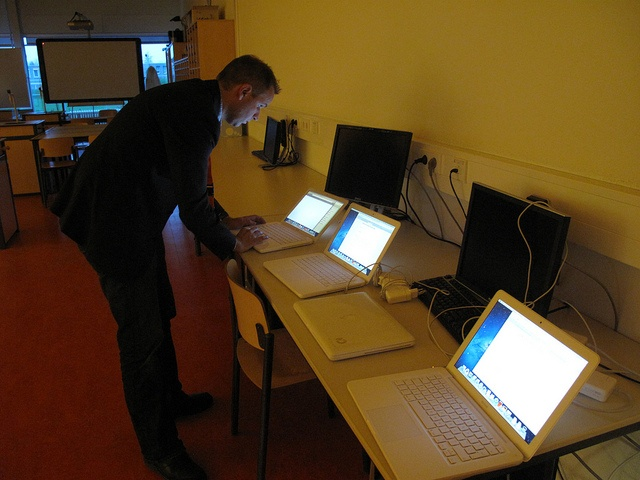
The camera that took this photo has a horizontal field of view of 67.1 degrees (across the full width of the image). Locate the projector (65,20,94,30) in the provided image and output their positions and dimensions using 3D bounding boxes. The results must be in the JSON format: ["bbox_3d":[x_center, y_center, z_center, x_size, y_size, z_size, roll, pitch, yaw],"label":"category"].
[{"bbox_3d":[-4.180,-3.709,8.346,0.504,0.130,0.538,10,26,11],"label":"projector"}]

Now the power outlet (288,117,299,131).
[{"bbox_3d":[-0.227,-0.929,3.916,0.035,0.111,0.177,-6,27,-20],"label":"power outlet"}]

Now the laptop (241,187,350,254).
[{"bbox_3d":[-0.162,-0.126,2.480,0.498,0.217,0.412,-9,20,-37],"label":"laptop"}]

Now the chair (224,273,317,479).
[{"bbox_3d":[-0.223,0.646,2.206,0.477,0.895,0.468,-16,32,-22],"label":"chair"}]

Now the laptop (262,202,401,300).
[{"bbox_3d":[0.037,0.008,2.122,0.527,0.307,0.565,18,17,40],"label":"laptop"}]

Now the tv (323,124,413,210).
[{"bbox_3d":[0.245,-0.402,2.599,0.439,0.404,0.039,14,5,30],"label":"tv"}]

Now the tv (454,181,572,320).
[{"bbox_3d":[0.624,0.053,1.827,0.333,0.442,0.441,-2,18,-21],"label":"tv"}]
